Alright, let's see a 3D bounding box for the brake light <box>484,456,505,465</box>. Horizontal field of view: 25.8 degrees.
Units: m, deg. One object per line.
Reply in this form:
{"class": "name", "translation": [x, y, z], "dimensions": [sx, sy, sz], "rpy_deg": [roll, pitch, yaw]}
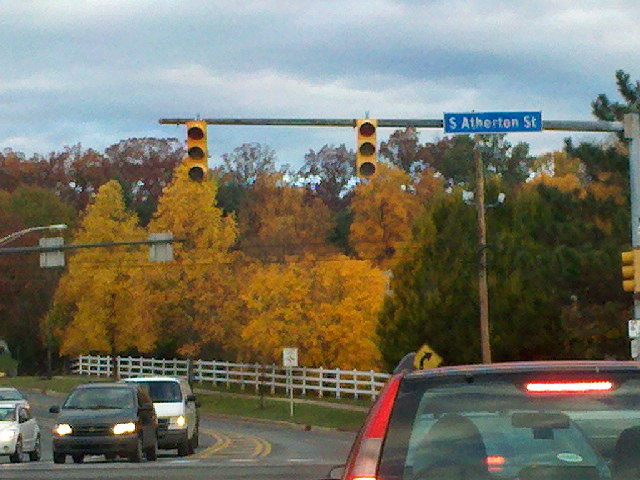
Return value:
{"class": "brake light", "translation": [4.367, 5.606, 35.284], "dimensions": [0.417, 0.200, 0.112], "rpy_deg": [-1, 2, -7]}

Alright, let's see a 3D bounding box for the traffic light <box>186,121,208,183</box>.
{"class": "traffic light", "translation": [-4.484, -3.188, 50.459], "dimensions": [0.679, 2.243, 0.666], "rpy_deg": [-1, 2, -11]}

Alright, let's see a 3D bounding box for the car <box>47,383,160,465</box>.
{"class": "car", "translation": [-7.946, 6.988, 53.426], "dimensions": [3.499, 3.228, 6.420], "rpy_deg": [0, -7, 0]}
